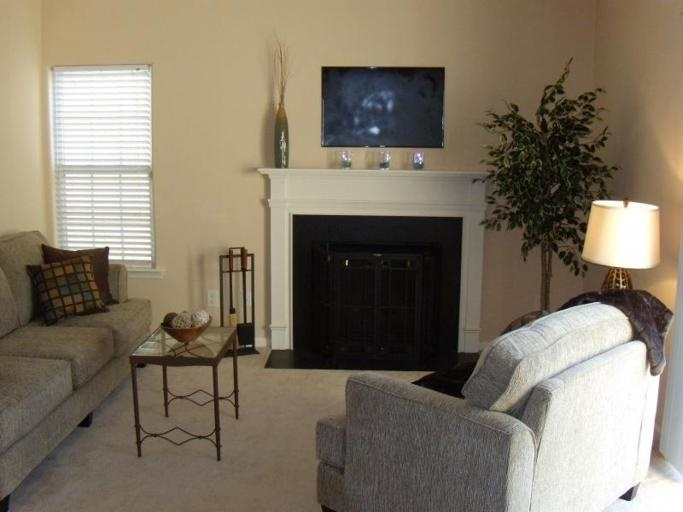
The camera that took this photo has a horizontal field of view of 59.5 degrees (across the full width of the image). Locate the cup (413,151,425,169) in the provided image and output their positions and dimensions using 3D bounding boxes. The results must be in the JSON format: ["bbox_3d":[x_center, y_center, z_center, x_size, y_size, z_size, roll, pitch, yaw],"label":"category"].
[{"bbox_3d":[0.634,-0.787,4.904,0.105,0.146,0.101,-1,9,0],"label":"cup"}]

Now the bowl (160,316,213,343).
[{"bbox_3d":[-0.951,0.462,3.626,0.277,0.137,0.152,-1,9,-2],"label":"bowl"}]

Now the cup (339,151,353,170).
[{"bbox_3d":[0.036,-0.800,4.973,0.112,0.199,0.123,-3,8,-25],"label":"cup"}]

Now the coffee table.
[{"bbox_3d":[-0.976,0.856,3.821,0.542,0.628,0.712,1,6,2],"label":"coffee table"}]

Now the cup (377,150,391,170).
[{"bbox_3d":[0.354,-0.793,4.905,0.106,0.158,0.146,0,9,3],"label":"cup"}]

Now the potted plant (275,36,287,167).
[{"bbox_3d":[-0.497,-1.227,4.872,0.120,1.013,0.220,-2,10,-4],"label":"potted plant"}]
